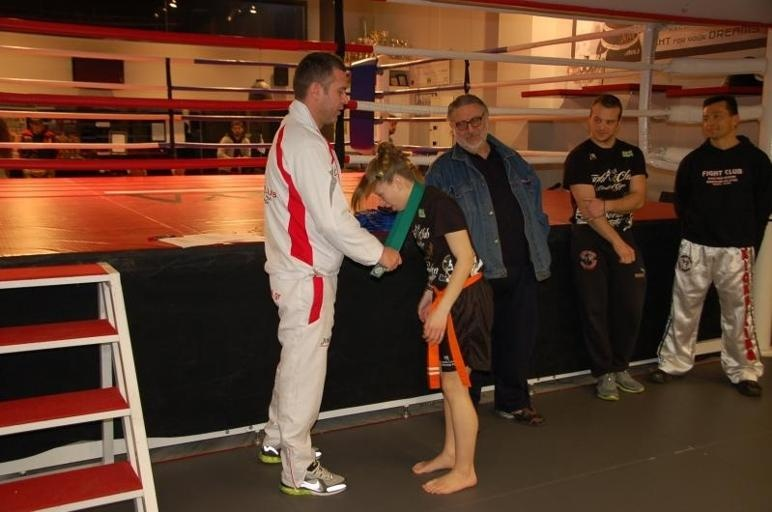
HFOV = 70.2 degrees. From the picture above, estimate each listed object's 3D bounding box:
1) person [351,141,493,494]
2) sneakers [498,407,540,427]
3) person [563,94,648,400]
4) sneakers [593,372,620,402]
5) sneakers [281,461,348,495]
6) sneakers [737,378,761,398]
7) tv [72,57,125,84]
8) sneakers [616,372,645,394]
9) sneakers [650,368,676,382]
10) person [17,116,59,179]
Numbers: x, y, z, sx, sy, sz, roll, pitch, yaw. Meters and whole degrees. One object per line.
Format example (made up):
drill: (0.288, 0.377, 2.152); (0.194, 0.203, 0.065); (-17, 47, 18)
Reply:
person: (0.234, 0.324, 2.854); (0.597, 1.806, 0.413); (-1, 13, 13)
sneakers: (0.864, 1.027, 3.542); (0.276, 0.115, 0.091); (4, 0, 12)
person: (1.518, -0.062, 3.787); (0.554, 2.018, 0.416); (-14, 16, -38)
sneakers: (1.503, 0.905, 3.740); (0.093, 0.094, 0.244); (-3, -3, 10)
sneakers: (-0.356, 1.190, 2.970); (0.413, 0.184, 0.139); (0, 2, -9)
sneakers: (2.510, 0.927, 3.817); (0.085, 0.065, 0.161); (-2, -3, 0)
tv: (-4.635, -2.985, 8.853); (0.771, 0.365, 0.182); (-10, 14, -29)
sneakers: (1.699, 0.894, 3.891); (0.111, 0.090, 0.228); (-4, 5, -26)
sneakers: (1.992, 0.863, 3.966); (0.166, 0.065, 0.076); (4, -5, -15)
person: (-4.759, -1.517, 7.537); (0.502, 0.810, 2.912); (-11, 14, -31)
